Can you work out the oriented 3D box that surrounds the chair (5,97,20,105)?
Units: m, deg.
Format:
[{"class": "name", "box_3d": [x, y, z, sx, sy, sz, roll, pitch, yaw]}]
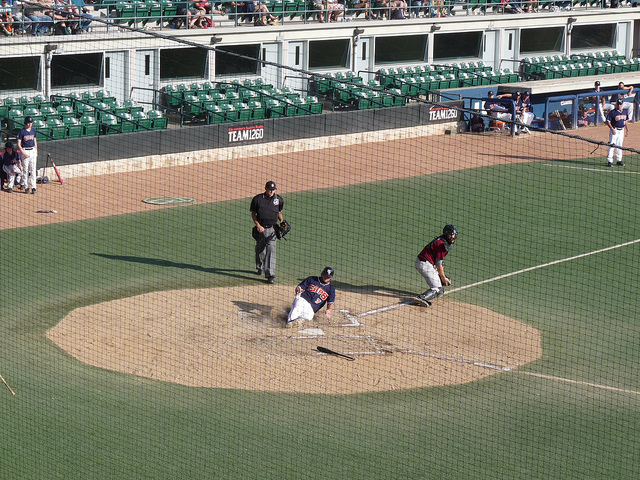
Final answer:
[{"class": "chair", "box_3d": [-8.950, -4.067, 39.677, 0.314, 0.268, 0.380, 2, -2, -7]}]

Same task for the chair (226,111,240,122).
[{"class": "chair", "box_3d": [-2.622, -3.798, 41.626, 0.370, 0.267, 0.578, 0, 10, -5]}]

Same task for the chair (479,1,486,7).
[{"class": "chair", "box_3d": [6.523, -9.465, 54.462, 0.250, 0.225, 0.842, 2, 10, 6]}]

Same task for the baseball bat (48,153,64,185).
[{"class": "baseball bat", "box_3d": [-7.078, -1.920, 36.597, 0.102, 0.913, 0.050, -23, -11, -11]}]

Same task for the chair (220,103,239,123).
[{"class": "chair", "box_3d": [-2.898, -3.964, 42.118, 0.640, 0.711, 0.702, -2, 7, -21]}]

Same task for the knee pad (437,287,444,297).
[{"class": "knee pad", "box_3d": [2.597, 1.118, 29.471, 0.163, 0.174, 0.210, 12, 18, 39]}]

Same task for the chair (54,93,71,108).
[{"class": "chair", "box_3d": [-7.680, -4.163, 40.582, 0.424, 0.382, 0.423, 4, 8, 30]}]

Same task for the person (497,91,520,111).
[{"class": "person", "box_3d": [6.319, -4.656, 45.227, 0.611, 0.703, 0.775, 0, -1, 2]}]

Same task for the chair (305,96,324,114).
[{"class": "chair", "box_3d": [-0.174, -4.368, 43.745, 0.509, 0.222, 0.672, -2, 15, -16]}]

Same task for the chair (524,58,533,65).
[{"class": "chair", "box_3d": [8.370, -7.196, 54.502, 0.248, 0.299, 0.262, 0, 3, -10]}]

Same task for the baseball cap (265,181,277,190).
[{"class": "baseball cap", "box_3d": [-1.087, -1.203, 29.985, 0.180, 0.127, 0.235, -1, 4, -19]}]

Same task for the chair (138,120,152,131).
[{"class": "chair", "box_3d": [-5.110, -3.352, 39.720, 0.368, 0.306, 0.435, 3, 11, 12]}]

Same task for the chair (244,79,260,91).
[{"class": "chair", "box_3d": [-2.232, -5.240, 45.652, 0.548, 0.481, 0.501, 1, -5, -8]}]

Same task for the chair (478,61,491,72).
[{"class": "chair", "box_3d": [6.442, -6.786, 53.098, 0.621, 0.549, 0.422, 0, 13, 5]}]

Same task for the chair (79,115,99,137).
[{"class": "chair", "box_3d": [-6.542, -3.265, 38.703, 0.490, 0.211, 0.654, -9, 40, -20]}]

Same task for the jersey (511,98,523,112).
[{"class": "jersey", "box_3d": [6.601, -4.477, 44.960, 0.479, 0.558, 0.324, -1, 3, -15]}]

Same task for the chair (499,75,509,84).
[{"class": "chair", "box_3d": [7.028, -6.177, 52.084, 0.510, 0.393, 0.261, 0, 6, 1]}]

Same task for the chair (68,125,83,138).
[{"class": "chair", "box_3d": [-6.870, -3.099, 38.261, 0.460, 0.398, 0.319, -6, 19, -39]}]

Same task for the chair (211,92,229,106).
[{"class": "chair", "box_3d": [-3.169, -4.536, 43.417, 0.591, 0.547, 0.453, -4, 30, -8]}]

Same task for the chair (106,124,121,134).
[{"class": "chair", "box_3d": [-5.910, -3.206, 39.102, 0.388, 0.260, 0.156, -5, 13, -29]}]

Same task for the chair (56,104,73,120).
[{"class": "chair", "box_3d": [-7.429, -3.713, 39.464, 0.486, 0.598, 0.470, -2, 6, -27]}]

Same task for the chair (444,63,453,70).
[{"class": "chair", "box_3d": [4.982, -6.696, 52.545, 0.348, 0.327, 0.255, 0, 46, 0]}]

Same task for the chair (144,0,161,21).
[{"class": "chair", "box_3d": [-5.369, -7.371, 43.735, 0.651, 0.796, 0.832, -4, 10, -8]}]

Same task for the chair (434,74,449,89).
[{"class": "chair", "box_3d": [4.534, -5.887, 50.448, 0.631, 0.588, 0.477, 2, 18, 3]}]

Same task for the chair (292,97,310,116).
[{"class": "chair", "box_3d": [-0.616, -4.300, 43.523, 0.705, 0.613, 0.520, 4, 8, 22]}]

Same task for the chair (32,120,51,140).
[{"class": "chair", "box_3d": [-7.673, -3.053, 37.639, 0.548, 0.589, 0.572, -2, 15, -14]}]

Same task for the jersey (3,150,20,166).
[{"class": "jersey", "box_3d": [-8.000, -2.148, 35.425, 0.408, 0.361, 0.212, 0, 29, -29]}]

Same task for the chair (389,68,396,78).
[{"class": "chair", "box_3d": [2.702, -6.272, 50.219, 0.216, 0.319, 0.192, -2, 1, 40]}]

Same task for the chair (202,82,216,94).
[{"class": "chair", "box_3d": [-3.600, -5.051, 44.703, 0.459, 0.486, 0.442, 0, 1, -19]}]

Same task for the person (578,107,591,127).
[{"class": "person", "box_3d": [9.015, -4.197, 46.335, 0.403, 0.605, 0.792, 5, 12, 21]}]

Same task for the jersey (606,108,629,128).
[{"class": "jersey", "box_3d": [8.601, -3.564, 39.566, 0.516, 0.543, 0.387, 4, 12, 16]}]

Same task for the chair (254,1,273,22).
[{"class": "chair", "box_3d": [-1.968, -7.964, 47.440, 0.693, 0.814, 0.806, -2, 22, -4]}]

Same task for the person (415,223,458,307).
[{"class": "person", "box_3d": [2.462, 0.520, 29.192, 0.871, 1.737, 0.785, 5, 12, 21]}]

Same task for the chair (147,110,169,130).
[{"class": "chair", "box_3d": [-4.735, -3.576, 40.325, 0.695, 0.769, 0.636, -4, 6, -44]}]

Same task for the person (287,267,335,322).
[{"class": "person", "box_3d": [-0.168, 1.156, 28.060, 1.240, 0.742, 0.495, -53, 12, -24]}]
